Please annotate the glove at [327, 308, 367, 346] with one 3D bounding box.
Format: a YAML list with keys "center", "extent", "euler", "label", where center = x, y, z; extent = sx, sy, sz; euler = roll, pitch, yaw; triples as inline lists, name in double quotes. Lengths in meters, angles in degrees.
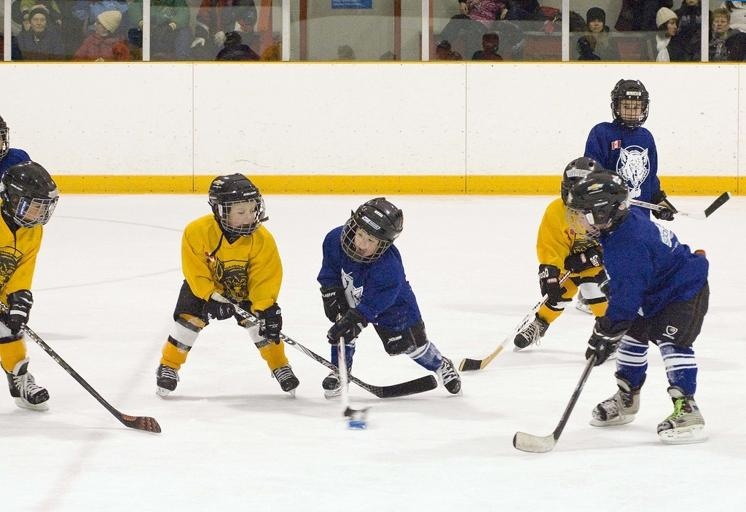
- center: [-0.120, 0.363, 4.818]
  extent: [0.146, 0.212, 0.083]
  euler: [54, -2, 36]
  label: "glove"

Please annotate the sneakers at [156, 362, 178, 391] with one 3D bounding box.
- center: [-1.027, 0.616, 4.798]
  extent: [0.068, 0.071, 0.175]
  euler: [11, 11, -19]
  label: "sneakers"

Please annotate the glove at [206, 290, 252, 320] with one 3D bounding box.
- center: [-0.728, 0.255, 4.894]
  extent: [0.225, 0.143, 0.146]
  euler: [-1, 13, -12]
  label: "glove"

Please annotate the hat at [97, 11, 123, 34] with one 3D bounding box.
- center: [-2.932, -2.632, 10.744]
  extent: [0.269, 0.178, 0.214]
  euler: [14, 20, 17]
  label: "hat"

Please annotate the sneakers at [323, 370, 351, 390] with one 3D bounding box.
- center: [-0.173, 0.631, 4.837]
  extent: [0.097, 0.104, 0.263]
  euler: [-2, -10, 10]
  label: "sneakers"

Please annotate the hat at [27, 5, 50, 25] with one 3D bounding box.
- center: [-3.714, -2.695, 10.745]
  extent: [0.200, 0.225, 0.230]
  euler: [-4, 30, -12]
  label: "hat"

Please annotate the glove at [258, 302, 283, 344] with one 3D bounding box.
- center: [-0.524, 0.344, 4.827]
  extent: [0.149, 0.172, 0.075]
  euler: [-1, 7, 0]
  label: "glove"

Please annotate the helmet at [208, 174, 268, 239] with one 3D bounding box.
- center: [-0.713, -0.269, 4.873]
  extent: [0.256, 0.271, 0.314]
  euler: [-9, 20, -40]
  label: "helmet"

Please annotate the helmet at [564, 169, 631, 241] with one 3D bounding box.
- center: [1.061, -0.251, 4.471]
  extent: [0.344, 0.296, 0.244]
  euler: [-7, 25, 20]
  label: "helmet"

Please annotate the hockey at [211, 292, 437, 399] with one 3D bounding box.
- center: [-0.484, 0.513, 5.091]
  extent: [1.607, 0.113, 0.425]
  euler: [20, -17, 27]
  label: "hockey"

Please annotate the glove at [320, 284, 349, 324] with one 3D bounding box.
- center: [-0.194, 0.252, 4.988]
  extent: [0.065, 0.174, 0.132]
  euler: [-20, 4, 10]
  label: "glove"

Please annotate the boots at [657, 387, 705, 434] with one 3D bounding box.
- center: [1.388, 0.714, 4.371]
  extent: [0.285, 0.234, 0.106]
  euler: [2, -17, -29]
  label: "boots"

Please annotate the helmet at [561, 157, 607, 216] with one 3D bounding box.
- center: [1.220, -0.404, 5.459]
  extent: [0.293, 0.324, 0.355]
  euler: [4, 14, 18]
  label: "helmet"

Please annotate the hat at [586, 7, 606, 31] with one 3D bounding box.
- center: [2.525, -2.658, 10.729]
  extent: [0.222, 0.253, 0.275]
  euler: [-1, -5, 0]
  label: "hat"

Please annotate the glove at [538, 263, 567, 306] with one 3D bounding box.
- center: [1.003, 0.172, 5.487]
  extent: [0.175, 0.217, 0.084]
  euler: [0, -26, -37]
  label: "glove"

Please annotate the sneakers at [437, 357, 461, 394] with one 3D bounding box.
- center: [0.396, 0.618, 4.941]
  extent: [0.089, 0.078, 0.207]
  euler: [26, 30, -44]
  label: "sneakers"

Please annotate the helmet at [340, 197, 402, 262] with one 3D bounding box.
- center: [0.002, -0.196, 4.789]
  extent: [0.215, 0.233, 0.263]
  euler: [-8, -5, -24]
  label: "helmet"

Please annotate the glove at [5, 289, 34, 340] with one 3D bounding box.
- center: [-1.730, 0.277, 4.664]
  extent: [0.149, 0.212, 0.091]
  euler: [3, -7, 1]
  label: "glove"

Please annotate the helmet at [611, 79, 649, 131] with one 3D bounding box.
- center: [1.618, -0.909, 5.952]
  extent: [0.243, 0.271, 0.295]
  euler: [-2, -26, 23]
  label: "helmet"

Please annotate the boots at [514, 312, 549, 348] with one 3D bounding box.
- center: [0.940, 0.427, 5.621]
  extent: [0.112, 0.116, 0.282]
  euler: [41, 35, 11]
  label: "boots"

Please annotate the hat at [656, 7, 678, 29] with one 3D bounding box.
- center: [3.286, -2.691, 10.794]
  extent: [0.224, 0.191, 0.162]
  euler: [-39, 2, 32]
  label: "hat"

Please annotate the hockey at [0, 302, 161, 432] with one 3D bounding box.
- center: [-1.513, 0.596, 4.946]
  extent: [0.891, 0.101, 0.097]
  euler: [38, 3, 24]
  label: "hockey"
